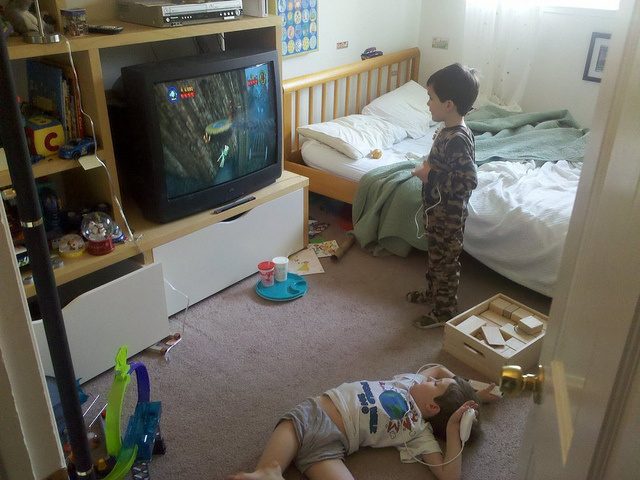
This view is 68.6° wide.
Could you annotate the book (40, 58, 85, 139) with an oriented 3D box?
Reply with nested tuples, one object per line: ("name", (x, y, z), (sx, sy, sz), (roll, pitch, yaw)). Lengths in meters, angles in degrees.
("book", (-1.044, -0.597, 1.997), (0.070, 0.290, 0.294), (-11, 17, -43))

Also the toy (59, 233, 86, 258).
("toy", (-1.088, 0.025, 2.052), (0.101, 0.073, 0.084), (-9, 29, -12))

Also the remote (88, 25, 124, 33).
("remote", (-0.897, -0.886, 1.975), (0.146, 0.026, 0.082), (0, 29, 5))

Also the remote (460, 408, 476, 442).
("remote", (0.552, 0.673, 1.738), (0.036, 0.036, 0.143), (3, 58, 33))

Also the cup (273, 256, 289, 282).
("cup", (-0.215, 0.159, 2.733), (0.107, 0.143, 0.121), (6, 25, 14))

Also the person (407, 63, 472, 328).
("person", (0.625, -0.267, 2.432), (0.313, 1.203, 0.765), (5, 29, 14))

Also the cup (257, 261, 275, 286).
("cup", (-0.295, 0.193, 2.625), (0.082, 0.130, 0.067), (-6, 28, -7))

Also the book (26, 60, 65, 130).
("book", (-1.155, -0.613, 1.985), (0.267, 0.287, 0.037), (15, 21, 38))

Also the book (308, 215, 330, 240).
("book", (-0.025, -0.090, 3.218), (0.105, 0.050, 0.140), (24, 37, 31))

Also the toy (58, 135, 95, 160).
("toy", (-1.017, -0.386, 1.974), (0.080, 0.056, 0.128), (28, 42, 28))

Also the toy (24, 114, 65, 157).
("toy", (-1.168, -0.435, 1.970), (0.155, 0.140, 0.156), (20, 36, 36))

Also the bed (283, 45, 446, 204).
("bed", (0.378, -0.922, 3.518), (1.005, 0.697, 1.374), (28, 46, 29))

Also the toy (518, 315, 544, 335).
("toy", (0.972, 0.385, 2.167), (0.078, 0.038, 0.079), (-23, 32, -26))

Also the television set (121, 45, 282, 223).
("television set", (-0.588, -0.593, 2.490), (0.390, 0.749, 0.780), (26, 37, 37))

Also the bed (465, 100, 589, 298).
("bed", (1.242, -0.340, 3.054), (0.754, 0.605, 1.443), (13, 32, 26))

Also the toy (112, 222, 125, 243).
("toy", (-0.922, -0.038, 2.141), (0.070, 0.062, 0.071), (19, 24, 41))
